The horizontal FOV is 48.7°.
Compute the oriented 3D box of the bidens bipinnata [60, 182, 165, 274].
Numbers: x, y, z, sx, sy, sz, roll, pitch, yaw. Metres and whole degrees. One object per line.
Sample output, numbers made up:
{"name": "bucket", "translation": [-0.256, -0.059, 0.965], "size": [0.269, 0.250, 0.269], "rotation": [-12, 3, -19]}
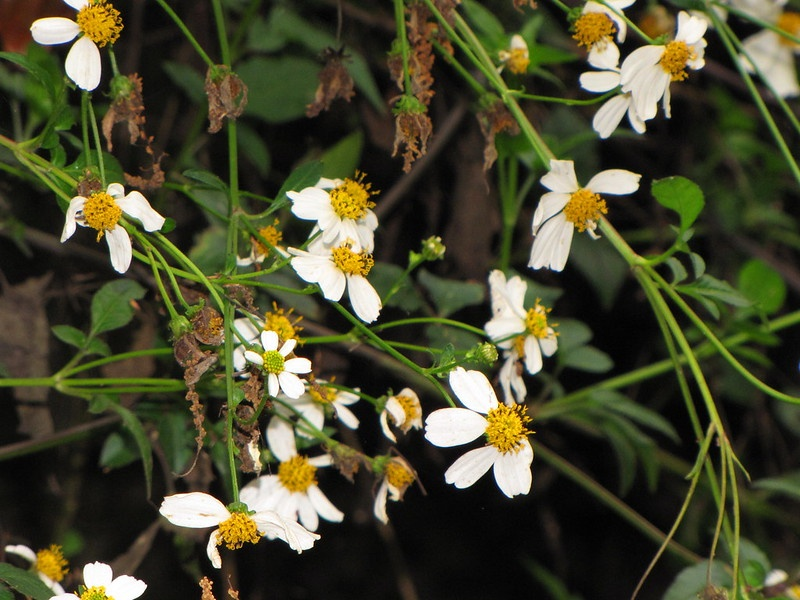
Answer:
{"name": "bidens bipinnata", "translation": [-0.523, -0.143, 1.641], "size": [0.170, 0.092, 0.162], "rotation": [35, 88, 7]}
